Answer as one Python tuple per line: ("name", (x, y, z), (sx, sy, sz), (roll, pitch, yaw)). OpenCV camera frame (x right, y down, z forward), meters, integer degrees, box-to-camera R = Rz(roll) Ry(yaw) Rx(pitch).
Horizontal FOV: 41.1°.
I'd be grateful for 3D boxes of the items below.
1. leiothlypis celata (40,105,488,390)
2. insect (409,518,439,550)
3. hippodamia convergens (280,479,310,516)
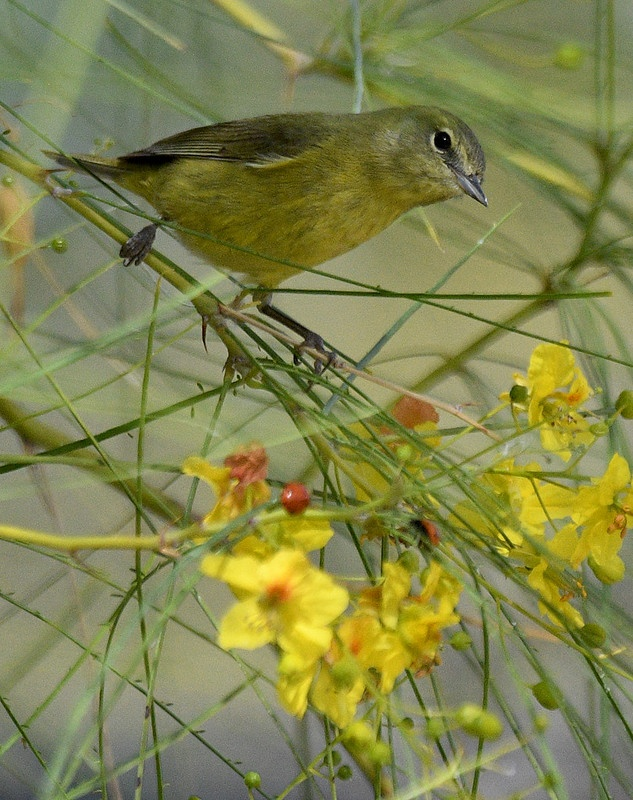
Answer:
("leiothlypis celata", (-0.004, -0.293, 1.208), (0.425, 0.574, 0.400), (-23, -72, -32))
("insect", (0.066, 0.080, 0.511), (0.016, 0.006, 0.017), (-23, -95, 10))
("hippodamia convergens", (-0.012, 0.052, 0.451), (0.015, 0.017, 0.014), (-5, -61, -4))
